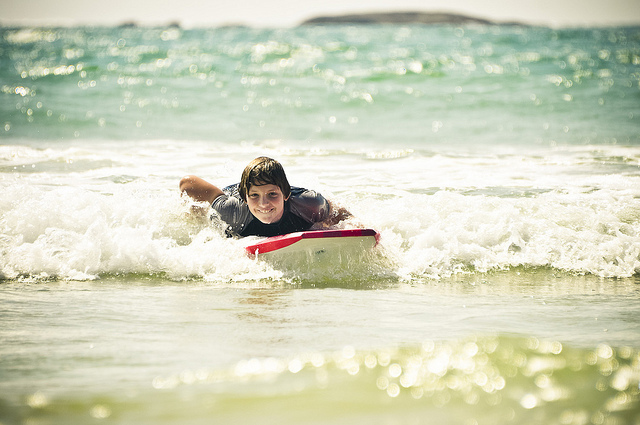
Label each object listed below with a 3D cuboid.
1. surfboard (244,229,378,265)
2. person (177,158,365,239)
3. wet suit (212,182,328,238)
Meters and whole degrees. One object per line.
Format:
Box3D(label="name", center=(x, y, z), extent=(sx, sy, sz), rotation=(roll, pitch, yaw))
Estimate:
Box3D(label="surfboard", center=(-0.114, 0.456, 10.034), extent=(1.747, 0.453, 0.174), rotation=(-1, 21, 0))
Box3D(label="person", center=(-1.011, -0.135, 10.937), extent=(1.409, 0.620, 1.998), rotation=(1, -5, -35))
Box3D(label="wet suit", center=(-0.680, -0.002, 10.630), extent=(1.580, 0.625, 0.548), rotation=(-2, 19, -5))
